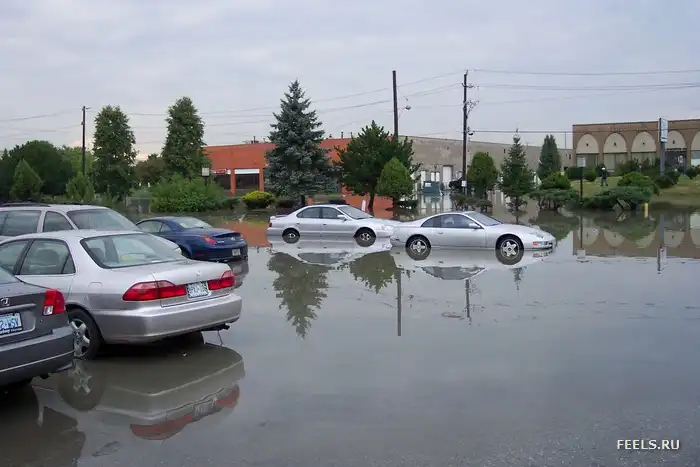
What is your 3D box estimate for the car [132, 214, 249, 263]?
[{"bbox_3d":[-5.019,0.385,18.869,3.329,1.061,1.570,8,6,28],"label":"car"}]
